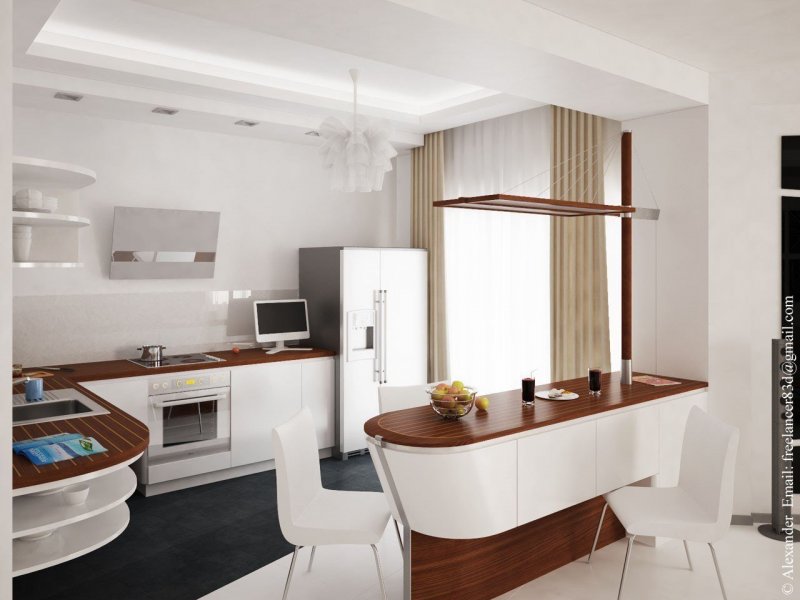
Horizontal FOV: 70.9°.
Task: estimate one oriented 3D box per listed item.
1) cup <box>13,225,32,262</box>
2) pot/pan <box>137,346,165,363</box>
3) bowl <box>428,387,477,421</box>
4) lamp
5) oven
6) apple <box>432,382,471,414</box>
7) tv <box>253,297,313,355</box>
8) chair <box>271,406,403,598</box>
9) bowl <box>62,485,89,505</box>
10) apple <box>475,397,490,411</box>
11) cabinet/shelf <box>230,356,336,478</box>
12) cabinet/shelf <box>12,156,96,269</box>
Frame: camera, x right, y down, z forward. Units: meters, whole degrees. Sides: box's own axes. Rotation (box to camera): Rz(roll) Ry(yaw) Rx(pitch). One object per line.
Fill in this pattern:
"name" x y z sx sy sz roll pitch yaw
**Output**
"cup" -2.308 -0.343 3.414 0.087 0.231 0.190 -2 2 -34
"pot/pan" -2.268 0.485 5.108 0.185 0.135 0.258 -2 2 -26
"bowl" 0.307 0.613 3.394 0.204 0.130 0.208 0 -2 0
"lamp" -0.394 -1.433 4.664 0.559 1.182 1.230 -1 2 -9
"oven" -1.852 1.064 4.958 0.760 0.548 0.507 1 -1 -40
"apple" 0.305 0.576 3.420 0.194 0.134 0.197 0 -3 -6
"tv" -1.196 0.258 5.759 0.604 0.512 0.520 -2 2 -21
"chair" -0.391 1.170 3.330 0.617 0.959 0.552 -1 2 -2
"bowl" -1.558 0.938 2.722 0.083 0.044 0.084 -1 -8 0
"apple" 0.520 0.663 3.571 0.086 0.069 0.065 7 35 6
"cabinet/shelf" -1.082 0.990 4.882 1.070 0.902 0.375 -2 3 -38
"cabinet/shelf" -2.419 -0.537 3.887 0.444 0.628 1.679 -2 2 -34
